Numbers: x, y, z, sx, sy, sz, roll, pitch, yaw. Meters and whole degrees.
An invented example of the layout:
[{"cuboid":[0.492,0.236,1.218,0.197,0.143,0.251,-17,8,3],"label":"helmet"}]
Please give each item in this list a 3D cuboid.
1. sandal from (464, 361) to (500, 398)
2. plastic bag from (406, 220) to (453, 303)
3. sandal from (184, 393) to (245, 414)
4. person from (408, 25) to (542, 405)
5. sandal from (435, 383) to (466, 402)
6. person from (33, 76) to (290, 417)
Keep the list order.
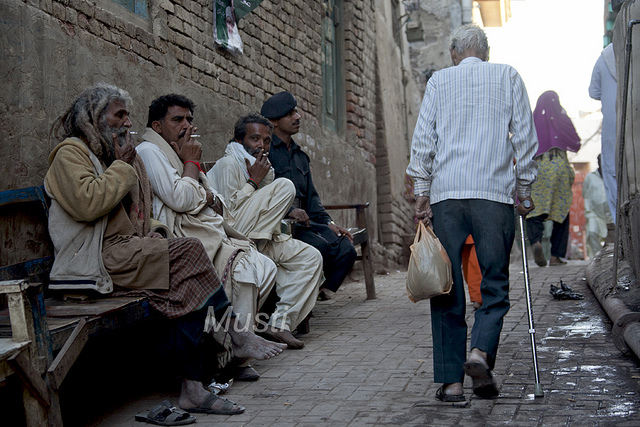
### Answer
[{"cuboid":[1.170,1.119,5.036,0.154,0.372,0.166,-13,39,26],"label":"sandal"},{"cuboid":[0.819,0.350,5.222,0.335,0.588,0.298,1,7,30],"label":"plastic bag"},{"cuboid":[-0.759,1.350,5.137,0.377,0.118,0.150,-2,-1,7],"label":"sandal"},{"cuboid":[1.092,-0.065,5.328,0.752,2.749,0.939,3,8,41],"label":"person"},{"cuboid":[0.950,1.293,5.157,0.223,0.101,0.097,1,-1,43],"label":"sandal"},{"cuboid":[-1.319,0.201,5.461,1.540,2.399,1.117,-4,-6,17],"label":"person"}]
